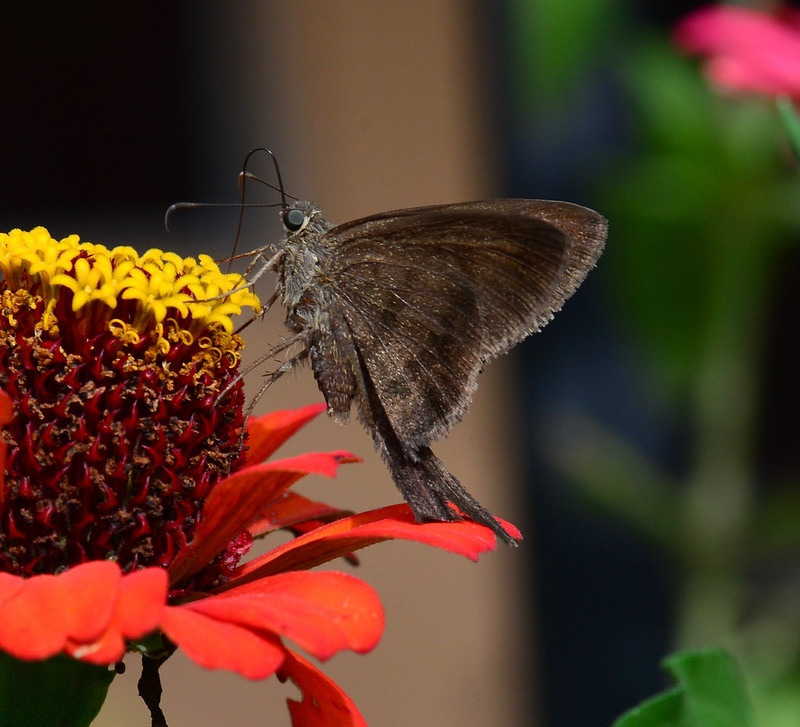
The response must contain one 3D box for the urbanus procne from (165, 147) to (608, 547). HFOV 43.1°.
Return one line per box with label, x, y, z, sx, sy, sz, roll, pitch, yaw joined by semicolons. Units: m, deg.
urbanus procne;0.025;-0.066;1.162;0.465;0.317;0.455;29;-4;-4
